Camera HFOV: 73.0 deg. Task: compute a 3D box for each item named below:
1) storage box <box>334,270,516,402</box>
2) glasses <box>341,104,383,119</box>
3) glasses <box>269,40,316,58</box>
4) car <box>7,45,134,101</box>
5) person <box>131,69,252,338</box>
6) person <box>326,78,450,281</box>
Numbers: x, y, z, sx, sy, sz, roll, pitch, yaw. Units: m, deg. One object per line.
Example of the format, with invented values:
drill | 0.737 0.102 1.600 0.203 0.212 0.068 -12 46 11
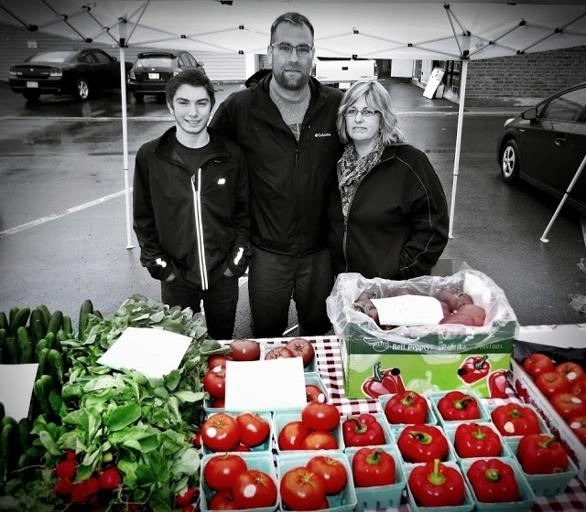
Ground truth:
storage box | 0.666 0.409 2.097 0.834 0.397 0.604 -1 19 7
glasses | 0.430 -0.914 2.506 0.259 0.092 0.114 7 23 10
glasses | -0.009 -1.362 2.603 0.157 0.052 0.158 0 10 -4
car | -8.962 -7.134 15.586 3.710 2.057 2.325 -12 27 -32
person | -0.730 -0.264 2.870 0.828 1.981 0.405 -5 24 -17
person | 0.669 -0.432 2.695 0.807 1.377 0.335 4 23 3
